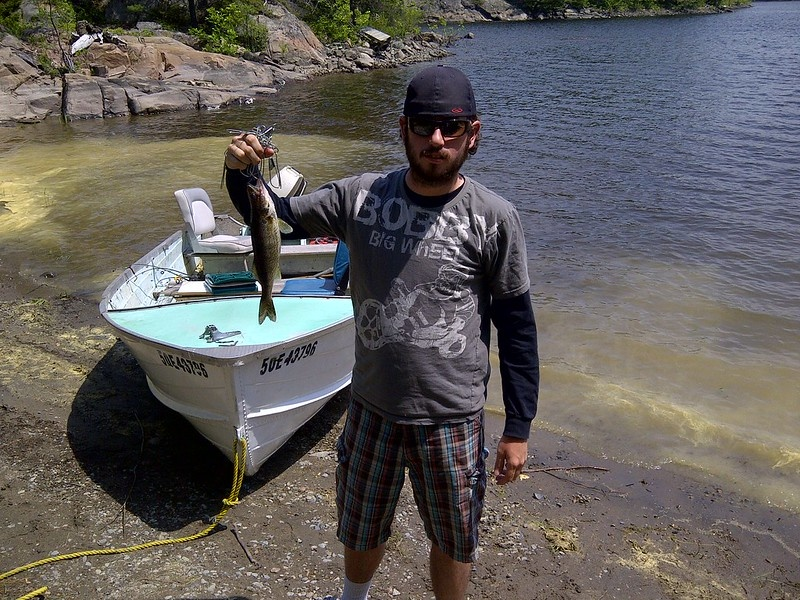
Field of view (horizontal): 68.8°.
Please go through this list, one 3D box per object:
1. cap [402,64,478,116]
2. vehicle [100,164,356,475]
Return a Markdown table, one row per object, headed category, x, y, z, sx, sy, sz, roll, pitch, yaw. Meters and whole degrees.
| category | x | y | z | sx | sy | sz | roll | pitch | yaw |
| --- | --- | --- | --- | --- | --- | --- | --- | --- | --- |
| cap | 0.250 | -1.298 | 3.639 | 0.441 | 0.289 | 0.344 | 1 | 26 | 1 |
| vehicle | -1.892 | 0.772 | 7.437 | 2.364 | 1.433 | 4.956 | 1 | 31 | -4 |
